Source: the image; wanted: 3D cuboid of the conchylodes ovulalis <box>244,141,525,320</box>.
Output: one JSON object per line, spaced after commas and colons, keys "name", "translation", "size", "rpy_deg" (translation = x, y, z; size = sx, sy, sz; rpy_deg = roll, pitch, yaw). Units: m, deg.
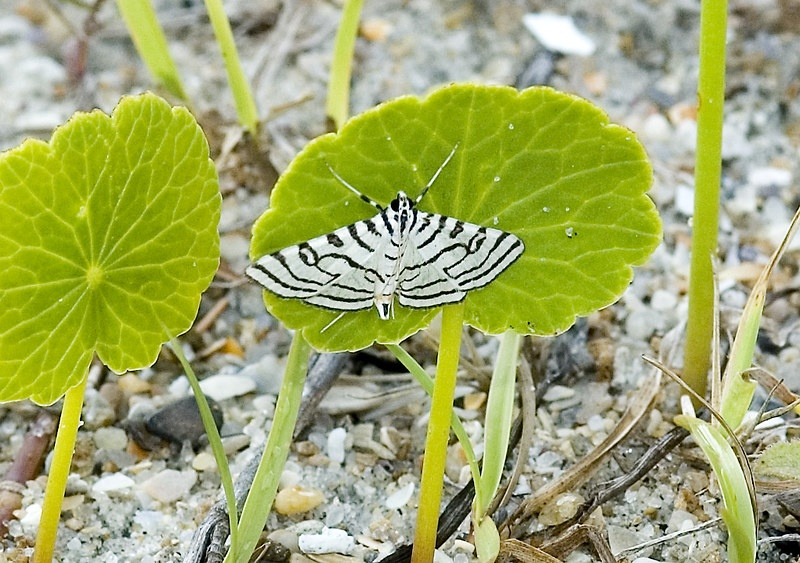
{"name": "conchylodes ovulalis", "translation": [0.001, -0.062, 1.438], "size": [0.505, 0.323, 0.056], "rpy_deg": [-5, 31, -34]}
